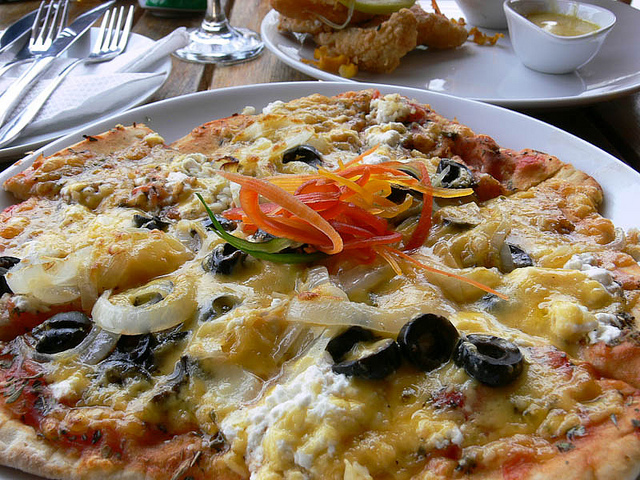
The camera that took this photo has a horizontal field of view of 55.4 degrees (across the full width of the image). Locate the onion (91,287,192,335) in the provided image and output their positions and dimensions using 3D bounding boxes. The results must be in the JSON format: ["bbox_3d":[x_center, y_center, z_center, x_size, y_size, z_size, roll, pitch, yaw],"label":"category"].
[{"bbox_3d":[-0.711,0.292,2.387,0.260,0.052,0.209,-9,21,-23],"label":"onion"}]

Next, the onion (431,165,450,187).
[{"bbox_3d":[0.589,-0.315,2.950,0.055,0.018,0.198,15,37,36],"label":"onion"}]
